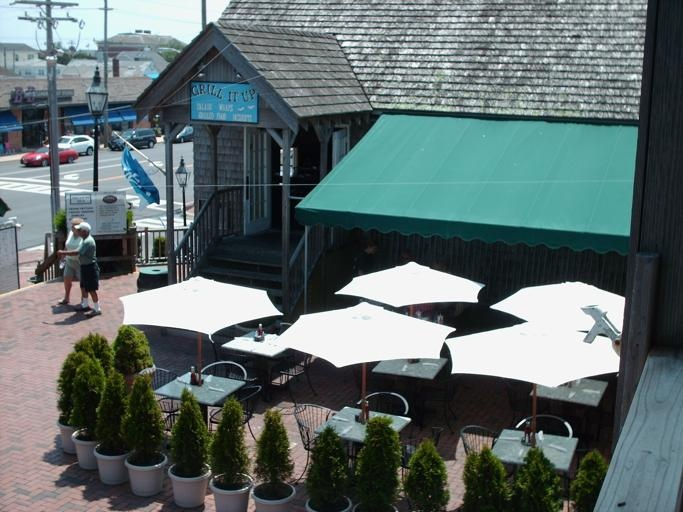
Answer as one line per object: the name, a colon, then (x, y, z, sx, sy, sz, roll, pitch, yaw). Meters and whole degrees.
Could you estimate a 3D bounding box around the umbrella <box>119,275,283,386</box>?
umbrella: (-2.326, 0.796, 16.010, 1.682, 1.162, 1.801, 18, 27, 26)

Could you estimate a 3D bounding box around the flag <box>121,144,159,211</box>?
flag: (-5.230, -2.014, 24.667, 0.657, 2.241, 0.297, -17, 48, -5)

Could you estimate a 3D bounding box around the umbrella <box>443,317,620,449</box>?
umbrella: (2.883, 2.132, 14.377, 1.677, 1.188, 1.882, 2, 18, 10)

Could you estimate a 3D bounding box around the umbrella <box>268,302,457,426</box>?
umbrella: (0.332, 1.748, 15.089, 2.244, 1.765, 2.546, 2, 15, 12)

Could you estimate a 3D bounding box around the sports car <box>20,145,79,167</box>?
sports car: (-17.048, -5.861, 55.871, 2.376, 0.981, 4.197, 4, 12, 2)
